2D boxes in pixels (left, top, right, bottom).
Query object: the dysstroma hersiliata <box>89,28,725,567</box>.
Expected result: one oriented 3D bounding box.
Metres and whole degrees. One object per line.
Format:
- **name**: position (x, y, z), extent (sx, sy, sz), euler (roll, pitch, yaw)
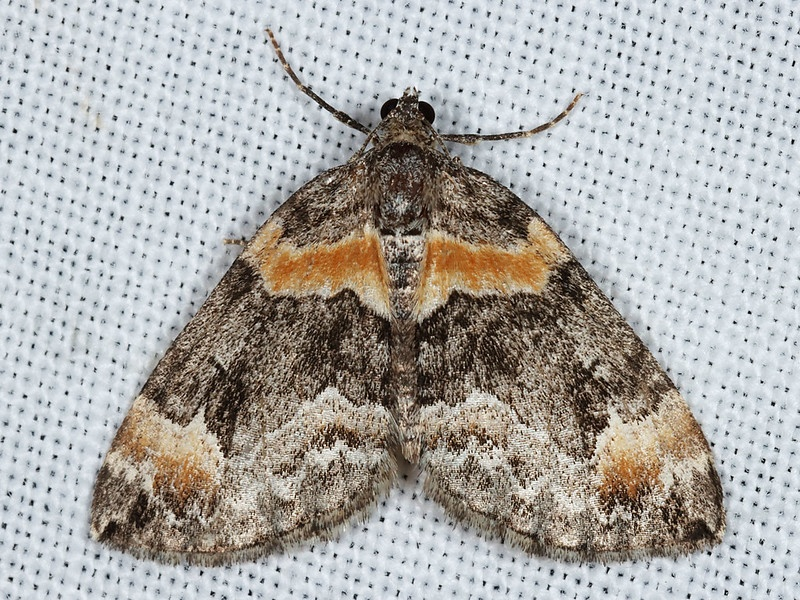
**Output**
- **dysstroma hersiliata**: position (0.050, -0.098, 4.283), extent (2.154, 0.584, 2.038), euler (4, 50, 6)
